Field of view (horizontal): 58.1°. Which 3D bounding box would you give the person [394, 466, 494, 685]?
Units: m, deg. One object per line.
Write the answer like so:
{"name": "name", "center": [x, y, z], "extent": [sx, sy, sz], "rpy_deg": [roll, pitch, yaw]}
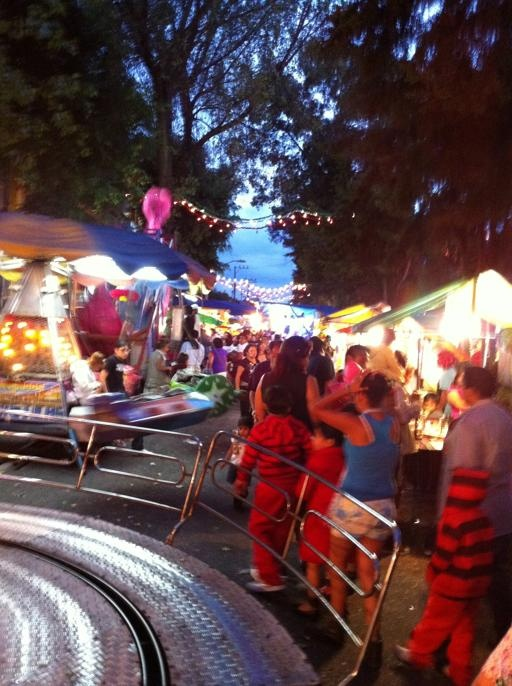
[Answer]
{"name": "person", "center": [1.056, 1.254, 2.480], "extent": [0.369, 1.086, 0.203], "rpy_deg": [12, -1, 22]}
